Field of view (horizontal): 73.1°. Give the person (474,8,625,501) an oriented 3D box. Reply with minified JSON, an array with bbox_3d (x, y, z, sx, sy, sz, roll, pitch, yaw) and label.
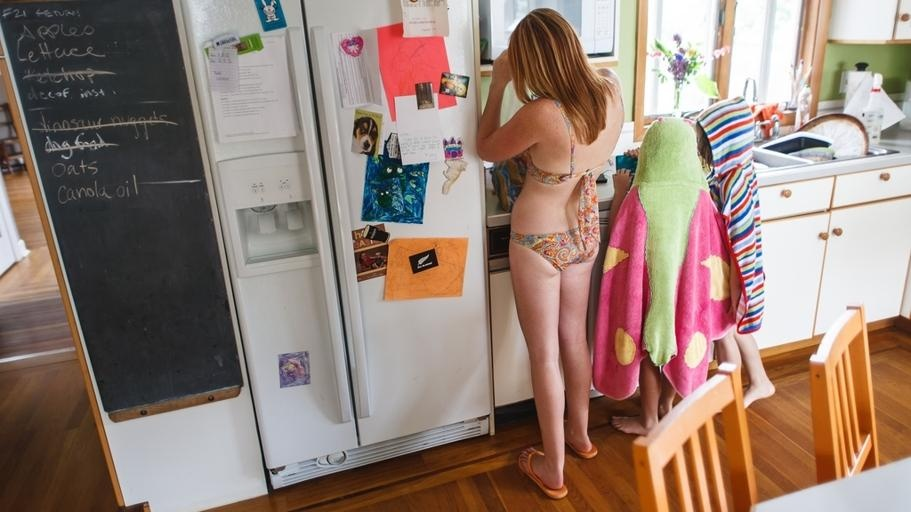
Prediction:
[{"bbox_3d":[0.508,0.057,3.280,0.734,2.595,0.434,-1,17,13],"label":"person"}]

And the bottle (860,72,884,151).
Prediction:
[{"bbox_3d":[2.817,-0.978,4.141,0.121,0.464,0.363,6,19,33],"label":"bottle"}]

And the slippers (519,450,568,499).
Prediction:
[{"bbox_3d":[0.496,1.261,3.498,0.143,0.094,0.338,-22,43,-14],"label":"slippers"}]

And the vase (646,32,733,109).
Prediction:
[{"bbox_3d":[1.484,-1.194,4.111,0.305,0.337,0.337,-4,-2,42],"label":"vase"}]

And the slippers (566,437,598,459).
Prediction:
[{"bbox_3d":[0.759,1.139,3.632,0.083,0.052,0.203,-2,6,-17],"label":"slippers"}]

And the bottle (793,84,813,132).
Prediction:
[{"bbox_3d":[2.509,-1.072,4.411,0.078,0.304,0.227,11,22,44],"label":"bottle"}]
